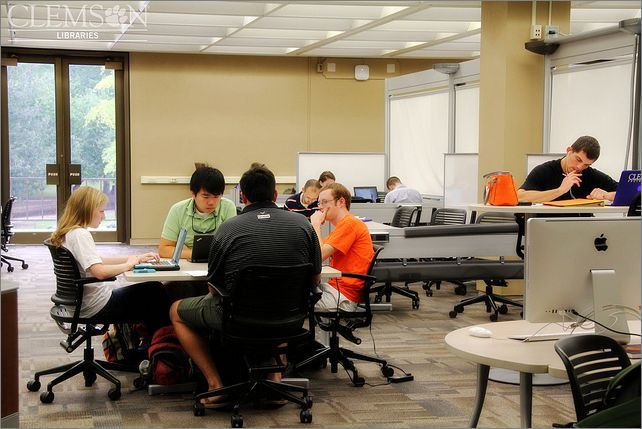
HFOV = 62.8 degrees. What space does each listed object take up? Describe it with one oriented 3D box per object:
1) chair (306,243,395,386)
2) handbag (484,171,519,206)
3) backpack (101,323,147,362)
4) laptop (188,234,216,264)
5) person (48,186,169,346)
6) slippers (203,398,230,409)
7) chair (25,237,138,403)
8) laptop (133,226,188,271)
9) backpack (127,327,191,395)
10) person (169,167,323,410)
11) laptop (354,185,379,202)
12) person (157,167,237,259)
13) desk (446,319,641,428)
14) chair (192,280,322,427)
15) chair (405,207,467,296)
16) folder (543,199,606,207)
[{"bbox_3d":[0.418,0.862,4.737,1.031,1.265,1.021,1,-1,-9],"label":"chair"},{"bbox_3d":[1.523,-0.211,4.485,0.259,0.283,0.418,-1,1,2],"label":"handbag"},{"bbox_3d":[-1.670,1.079,4.497,0.401,0.372,0.279,2,-2,-1],"label":"backpack"},{"bbox_3d":[-0.950,0.269,4.314,0.268,0.236,0.215,-1,5,-27],"label":"laptop"},{"bbox_3d":[-1.620,0.426,4.055,0.746,1.278,0.540,2,6,18],"label":"person"},{"bbox_3d":[-0.749,1.377,3.799,0.195,0.049,0.070,1,-2,-22],"label":"slippers"},{"bbox_3d":[-1.848,0.817,4.132,0.746,1.138,0.792,-1,-2,37],"label":"chair"},{"bbox_3d":[-1.209,0.242,3.945,0.306,0.214,0.359,1,0,-10],"label":"laptop"},{"bbox_3d":[-1.349,1.152,4.233,0.381,0.492,0.523,7,-15,-43],"label":"backpack"},{"bbox_3d":[-0.471,0.515,3.789,1.057,1.536,0.905,2,-11,-22],"label":"person"},{"bbox_3d":[0.822,-0.376,9.532,0.395,0.357,0.302,1,-8,-8],"label":"laptop"},{"bbox_3d":[-0.984,0.020,4.436,0.722,0.807,0.556,3,15,-10],"label":"person"},{"bbox_3d":[1.048,0.689,2.634,0.774,0.371,0.785,-1,5,-12],"label":"desk"},{"bbox_3d":[-0.358,0.857,3.929,1.048,1.205,0.973,0,5,-19],"label":"chair"},{"bbox_3d":[1.757,0.475,7.388,1.069,1.497,1.060,0,-5,8],"label":"chair"},{"bbox_3d":[2.003,-0.088,4.162,0.433,0.058,0.228,3,6,25],"label":"folder"}]
